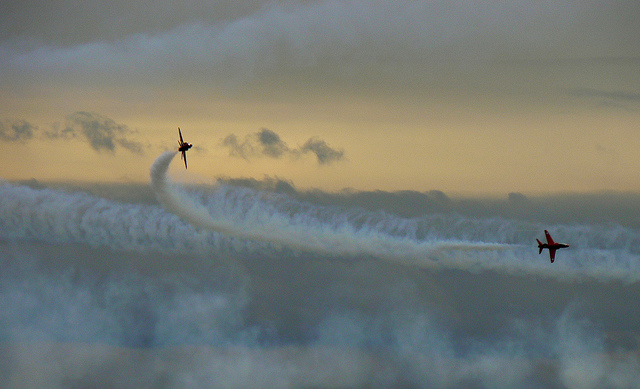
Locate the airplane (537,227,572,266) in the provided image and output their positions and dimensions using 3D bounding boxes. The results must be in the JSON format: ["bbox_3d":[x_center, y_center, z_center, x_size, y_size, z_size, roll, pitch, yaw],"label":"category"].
[{"bbox_3d":[21.109,4.657,147.028,2.967,3.157,1.153,1,21,32],"label":"airplane"}]
